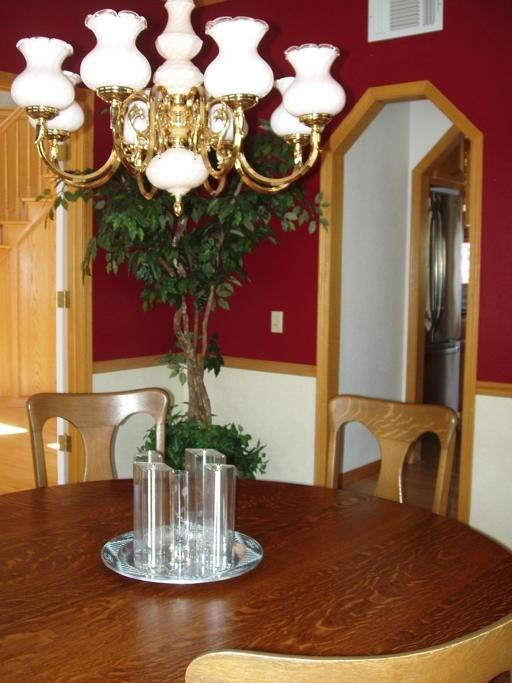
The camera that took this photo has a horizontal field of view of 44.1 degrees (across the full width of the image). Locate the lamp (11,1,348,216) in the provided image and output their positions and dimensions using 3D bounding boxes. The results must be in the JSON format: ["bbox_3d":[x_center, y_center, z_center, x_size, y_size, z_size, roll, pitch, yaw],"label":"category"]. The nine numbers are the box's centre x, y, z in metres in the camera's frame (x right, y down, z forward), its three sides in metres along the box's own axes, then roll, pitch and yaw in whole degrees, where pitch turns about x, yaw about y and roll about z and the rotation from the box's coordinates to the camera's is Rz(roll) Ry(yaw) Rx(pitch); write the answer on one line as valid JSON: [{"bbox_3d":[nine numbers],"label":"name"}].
[{"bbox_3d":[-0.210,-0.610,1.629,0.826,0.517,0.654,-2,13,-10],"label":"lamp"}]

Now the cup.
[{"bbox_3d":[-0.124,0.300,1.181,0.211,0.182,0.199,1,15,0],"label":"cup"}]
